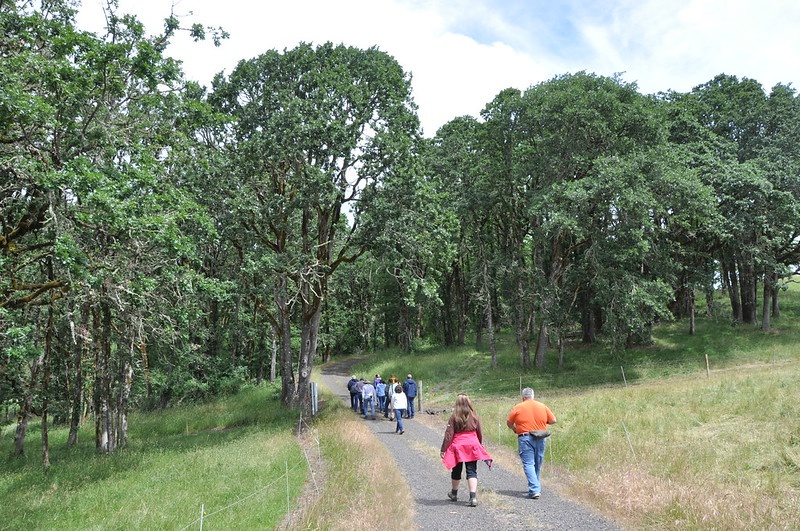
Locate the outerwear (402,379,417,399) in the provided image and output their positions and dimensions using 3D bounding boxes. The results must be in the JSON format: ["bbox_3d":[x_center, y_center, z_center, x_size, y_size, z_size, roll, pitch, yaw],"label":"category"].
[{"bbox_3d":[0.551,6.803,36.969,0.717,1.068,0.946,-3,-10,-1],"label":"outerwear"}]

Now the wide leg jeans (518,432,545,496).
[{"bbox_3d":[5.424,7.939,27.220,1.148,2.584,0.991,-4,0,-33],"label":"wide leg jeans"}]

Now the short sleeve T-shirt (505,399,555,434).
[{"bbox_3d":[5.368,6.072,27.475,1.815,1.520,1.297,0,4,14],"label":"short sleeve T-shirt"}]

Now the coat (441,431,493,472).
[{"bbox_3d":[2.666,7.292,26.995,1.904,1.413,1.439,-2,-2,-2],"label":"coat"}]
